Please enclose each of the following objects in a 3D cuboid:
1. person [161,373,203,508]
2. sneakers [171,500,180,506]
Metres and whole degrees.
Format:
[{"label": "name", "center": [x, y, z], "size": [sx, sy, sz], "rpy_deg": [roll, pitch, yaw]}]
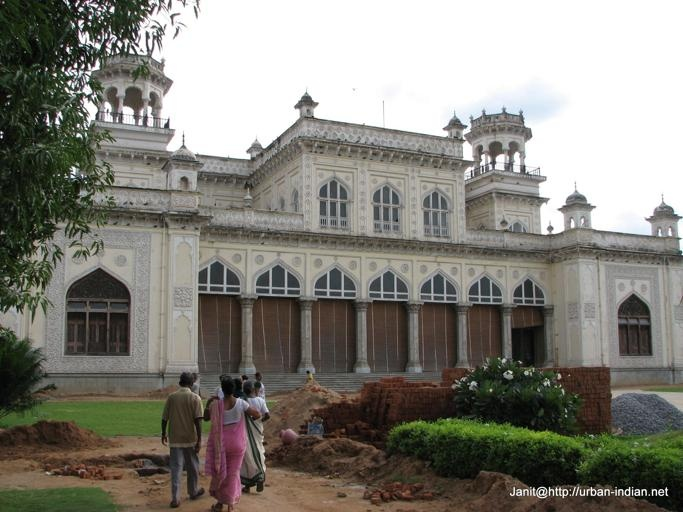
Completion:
[{"label": "person", "center": [-2.641, 3.067, 14.496], "size": [0.721, 2.212, 0.831], "rpy_deg": [2, -10, -9]}, {"label": "sneakers", "center": [-2.702, 4.038, 13.991], "size": [0.163, 0.115, 0.157], "rpy_deg": [4, -11, -15]}]
